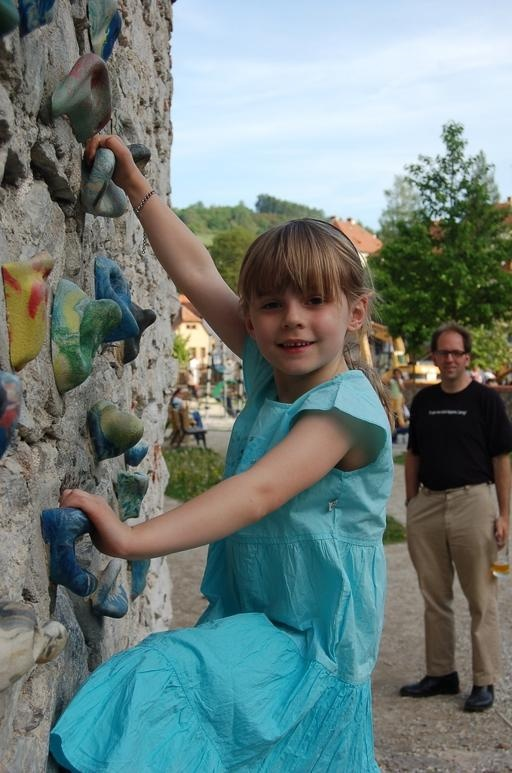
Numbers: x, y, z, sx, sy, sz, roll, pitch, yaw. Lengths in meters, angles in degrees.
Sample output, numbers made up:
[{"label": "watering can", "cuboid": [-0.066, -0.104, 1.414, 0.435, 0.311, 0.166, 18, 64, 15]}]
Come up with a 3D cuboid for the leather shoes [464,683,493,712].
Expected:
[{"label": "leather shoes", "cuboid": [1.016, 1.410, 3.550, 0.107, 0.091, 0.197, 2, 1, 30]}]

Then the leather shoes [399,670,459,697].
[{"label": "leather shoes", "cuboid": [0.821, 1.416, 3.748, 0.277, 0.159, 0.109, 2, -8, -4]}]

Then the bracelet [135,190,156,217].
[{"label": "bracelet", "cuboid": [-0.238, -0.392, 1.657, 0.013, 0.048, 0.050, 44, 22, 13]}]

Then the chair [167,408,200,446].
[{"label": "chair", "cuboid": [-1.263, 0.711, 13.581, 0.426, 0.522, 0.825, -1, 6, -11]}]
